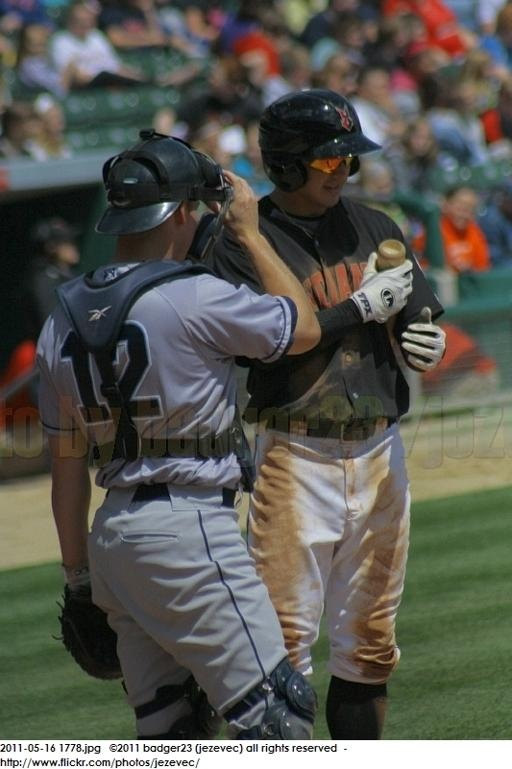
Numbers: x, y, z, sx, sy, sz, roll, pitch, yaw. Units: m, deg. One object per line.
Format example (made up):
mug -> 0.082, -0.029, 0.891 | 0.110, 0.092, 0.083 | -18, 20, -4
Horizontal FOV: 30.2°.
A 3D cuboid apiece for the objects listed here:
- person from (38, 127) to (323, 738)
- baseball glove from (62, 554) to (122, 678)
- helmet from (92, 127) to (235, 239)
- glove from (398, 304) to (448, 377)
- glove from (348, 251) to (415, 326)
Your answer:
person -> -0.137, 0.132, 1.797 | 0.571, 1.223, 0.476 | -7, 12, -8
baseball glove -> -0.360, 0.503, 2.028 | 0.095, 0.206, 0.133 | -7, 2, 43
helmet -> -0.189, -0.377, 1.842 | 0.208, 0.136, 0.256 | 7, 29, 35
glove -> 0.406, -0.108, 2.295 | 0.124, 0.142, 0.059 | -5, -13, 29
glove -> 0.309, -0.208, 2.207 | 0.161, 0.042, 0.153 | -33, 25, 3
